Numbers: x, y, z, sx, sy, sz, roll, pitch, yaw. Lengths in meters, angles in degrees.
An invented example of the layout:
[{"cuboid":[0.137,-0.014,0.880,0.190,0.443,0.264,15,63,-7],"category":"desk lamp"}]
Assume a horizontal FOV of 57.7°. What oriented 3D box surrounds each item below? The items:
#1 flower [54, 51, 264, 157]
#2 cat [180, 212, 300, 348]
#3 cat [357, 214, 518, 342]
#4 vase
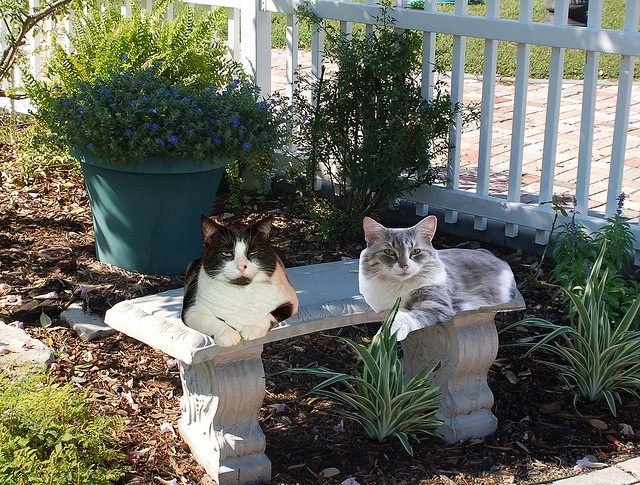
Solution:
[{"cuboid":[-0.924,-0.788,3.571,1.318,0.568,0.672,-7,17,-20],"category":"flower"},{"cuboid":[-0.335,0.104,2.298,0.497,0.427,0.642,-2,17,-17],"category":"cat"},{"cuboid":[0.547,0.119,2.704,0.574,0.438,0.981,16,15,41],"category":"cat"},{"cuboid":[-1.085,-0.205,3.980,1.104,0.722,1.044,2,5,-21],"category":"vase"}]
